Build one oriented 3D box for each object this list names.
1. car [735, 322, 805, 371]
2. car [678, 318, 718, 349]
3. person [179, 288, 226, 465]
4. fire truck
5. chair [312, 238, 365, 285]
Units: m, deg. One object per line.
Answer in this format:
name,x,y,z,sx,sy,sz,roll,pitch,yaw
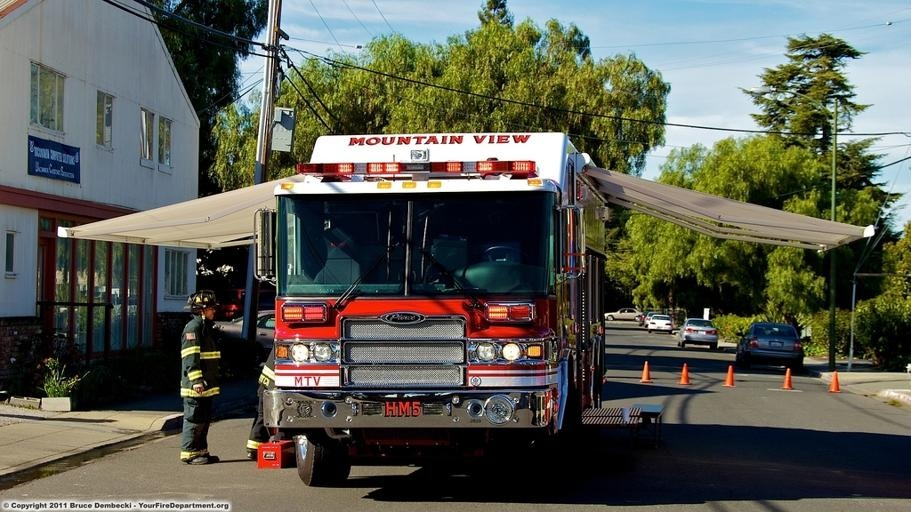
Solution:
car,13.211,3.665,41.227,2.248,1.818,4.198,3,0,11
car,13.321,4.229,53.904,1.921,1.574,0.942,1,-2,3
person,-5.692,2.577,21.631,1.131,3.418,1.164,0,-1,23
fire truck,-0.664,0.661,24.265,6.314,6.520,12.152,0,5,3
chair,-2.153,0.063,19.167,1.406,1.247,0.703,1,3,4
